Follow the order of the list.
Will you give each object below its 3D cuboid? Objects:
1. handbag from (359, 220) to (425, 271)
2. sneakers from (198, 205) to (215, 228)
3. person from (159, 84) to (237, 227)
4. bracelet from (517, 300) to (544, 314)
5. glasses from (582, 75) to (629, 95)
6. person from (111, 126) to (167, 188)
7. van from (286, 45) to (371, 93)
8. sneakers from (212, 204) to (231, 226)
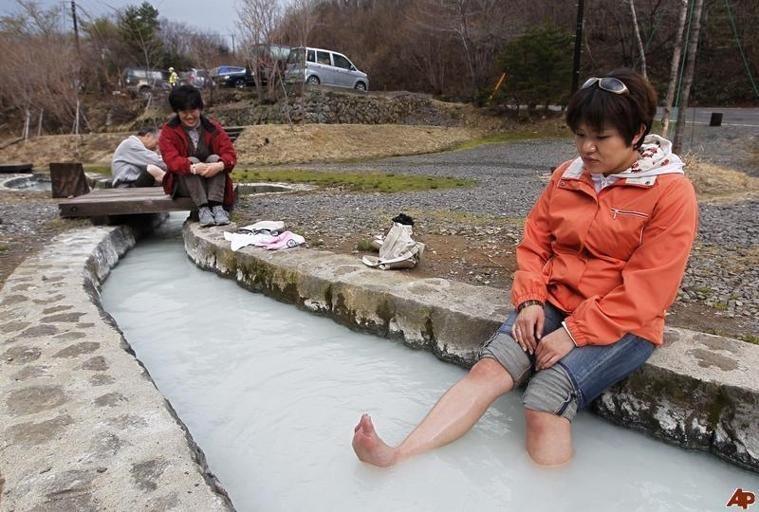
[{"bbox_3d":[0.129,-0.081,4.175,0.461,0.225,0.414,5,49,-1],"label":"handbag"},{"bbox_3d":[-1.983,-0.470,5.545,0.162,0.188,0.315,-10,19,-20],"label":"sneakers"},{"bbox_3d":[-2.084,-1.221,5.693,0.767,1.405,1.251,-14,28,-32],"label":"person"},{"bbox_3d":[0.896,0.291,2.909,0.091,0.025,0.087,-16,-1,30],"label":"bracelet"},{"bbox_3d":[1.245,-0.945,2.678,0.128,0.103,0.240,-18,23,-38],"label":"glasses"},{"bbox_3d":[-3.610,-1.451,7.120,0.751,0.821,1.143,-11,20,-23],"label":"person"},{"bbox_3d":[-2.092,-7.662,19.916,3.242,1.643,1.861,-12,25,-30],"label":"van"},{"bbox_3d":[-1.841,-0.482,5.628,0.146,0.126,0.318,-10,20,-26],"label":"sneakers"}]
